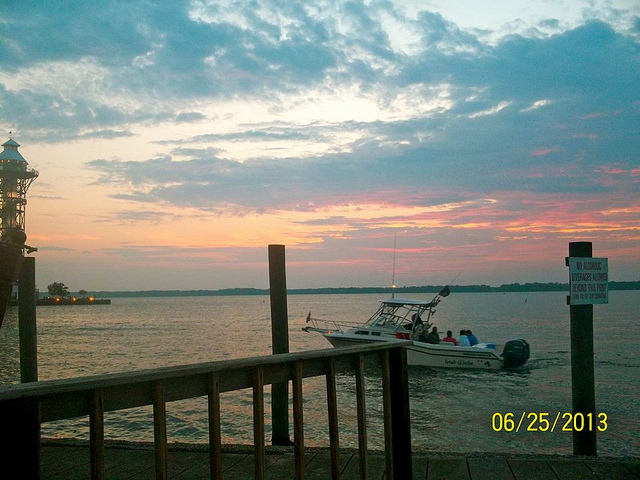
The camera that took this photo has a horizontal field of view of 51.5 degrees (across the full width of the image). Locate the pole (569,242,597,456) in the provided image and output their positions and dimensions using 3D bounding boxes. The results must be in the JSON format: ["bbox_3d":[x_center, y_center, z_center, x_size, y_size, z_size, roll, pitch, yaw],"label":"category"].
[{"bbox_3d":[4.604,2.436,11.699,0.389,2.575,0.407,0,-1,18],"label":"pole"}]

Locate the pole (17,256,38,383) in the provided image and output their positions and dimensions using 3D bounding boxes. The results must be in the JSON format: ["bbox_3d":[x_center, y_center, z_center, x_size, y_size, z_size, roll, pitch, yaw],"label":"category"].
[{"bbox_3d":[-5.883,1.616,13.352,0.349,2.492,0.639,0,-1,-23],"label":"pole"}]

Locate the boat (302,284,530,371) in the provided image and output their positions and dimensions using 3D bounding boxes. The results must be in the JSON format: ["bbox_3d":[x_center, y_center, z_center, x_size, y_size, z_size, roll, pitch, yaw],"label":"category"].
[{"bbox_3d":[3.805,3.821,28.229,9.950,2.775,2.401,2,3,17],"label":"boat"}]

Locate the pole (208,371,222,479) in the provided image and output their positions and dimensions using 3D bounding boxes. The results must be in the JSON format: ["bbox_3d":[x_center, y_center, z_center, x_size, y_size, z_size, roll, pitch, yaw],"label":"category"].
[{"bbox_3d":[-1.420,2.456,8.891,0.160,1.427,0.264,0,-1,-7],"label":"pole"}]

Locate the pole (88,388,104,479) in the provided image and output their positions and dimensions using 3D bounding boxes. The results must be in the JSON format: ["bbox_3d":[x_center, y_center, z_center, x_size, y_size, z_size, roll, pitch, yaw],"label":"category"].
[{"bbox_3d":[-2.853,2.435,8.470,0.190,1.146,0.196,0,-1,-14],"label":"pole"}]

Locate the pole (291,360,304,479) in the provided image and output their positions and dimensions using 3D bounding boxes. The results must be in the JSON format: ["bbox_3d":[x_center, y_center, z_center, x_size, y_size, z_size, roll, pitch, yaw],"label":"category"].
[{"bbox_3d":[-0.327,2.526,9.470,0.178,1.687,0.364,0,-1,-2],"label":"pole"}]
